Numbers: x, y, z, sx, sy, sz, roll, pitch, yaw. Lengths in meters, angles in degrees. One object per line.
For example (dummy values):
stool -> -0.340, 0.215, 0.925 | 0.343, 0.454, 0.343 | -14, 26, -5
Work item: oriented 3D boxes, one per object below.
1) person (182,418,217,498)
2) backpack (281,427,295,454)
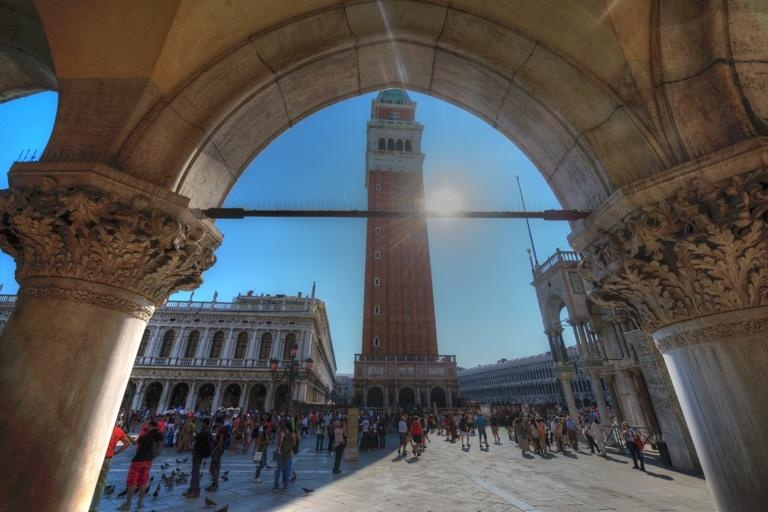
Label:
person -> -4.075, 4.418, 7.258 | 0.403, 1.494, 1.171 | 8, -23, -26
backpack -> -2.290, 4.356, 7.718 | 0.296, 0.582, 0.327 | -1, -21, -4
